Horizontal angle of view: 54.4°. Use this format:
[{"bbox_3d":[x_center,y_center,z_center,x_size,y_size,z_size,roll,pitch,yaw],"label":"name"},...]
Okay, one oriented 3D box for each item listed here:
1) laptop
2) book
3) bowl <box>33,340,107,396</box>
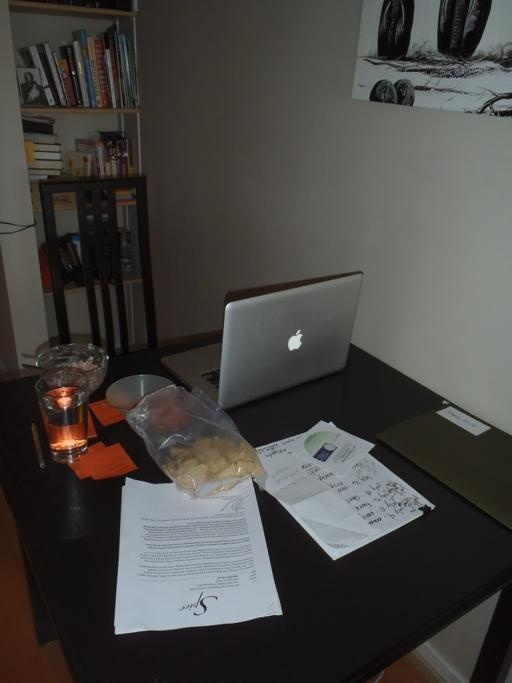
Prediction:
[{"bbox_3d":[0.011,-0.043,1.168,0.418,0.322,0.313,-18,35,-32],"label":"laptop"},{"bbox_3d":[-0.794,-1.051,2.350,0.478,0.719,0.206,-4,26,-24],"label":"book"},{"bbox_3d":[-0.427,0.047,1.147,0.141,0.101,0.144,3,13,-1],"label":"bowl"}]
